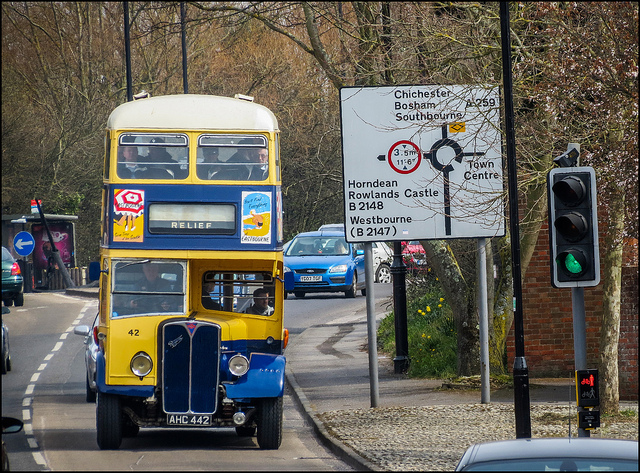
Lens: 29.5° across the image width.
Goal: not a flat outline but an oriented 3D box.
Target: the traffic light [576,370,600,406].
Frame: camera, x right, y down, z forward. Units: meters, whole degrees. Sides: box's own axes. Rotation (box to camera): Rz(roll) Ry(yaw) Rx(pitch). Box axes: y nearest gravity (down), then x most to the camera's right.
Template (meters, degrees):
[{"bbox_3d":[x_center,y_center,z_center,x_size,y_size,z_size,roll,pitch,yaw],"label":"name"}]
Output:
[{"bbox_3d":[4.174,2.337,18.842,0.380,0.542,0.188,-3,0,-5],"label":"traffic light"}]

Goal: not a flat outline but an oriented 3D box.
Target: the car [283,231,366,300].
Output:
[{"bbox_3d":[0.153,0.838,39.720,2.474,2.048,4.791,-1,0,11],"label":"car"}]

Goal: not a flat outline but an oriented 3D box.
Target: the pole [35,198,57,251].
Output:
[{"bbox_3d":[-10.241,-0.315,45.546,0.259,2.291,0.309,-18,11,26],"label":"pole"}]

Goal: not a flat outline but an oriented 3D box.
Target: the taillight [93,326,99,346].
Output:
[{"bbox_3d":[-4.303,1.895,23.297,0.078,0.365,0.711,-3,-1,-12],"label":"taillight"}]

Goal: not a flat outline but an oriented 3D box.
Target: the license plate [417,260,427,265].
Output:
[{"bbox_3d":[2.710,0.670,31.958,0.213,0.115,0.173,-4,0,2],"label":"license plate"}]

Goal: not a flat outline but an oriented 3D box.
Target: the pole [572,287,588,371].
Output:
[{"bbox_3d":[4.123,1.431,19.188,0.185,1.305,0.579,-3,0,11],"label":"pole"}]

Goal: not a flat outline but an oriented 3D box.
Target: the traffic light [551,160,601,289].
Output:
[{"bbox_3d":[4.016,-0.182,19.125,0.711,1.969,0.327,-3,0,14],"label":"traffic light"}]
